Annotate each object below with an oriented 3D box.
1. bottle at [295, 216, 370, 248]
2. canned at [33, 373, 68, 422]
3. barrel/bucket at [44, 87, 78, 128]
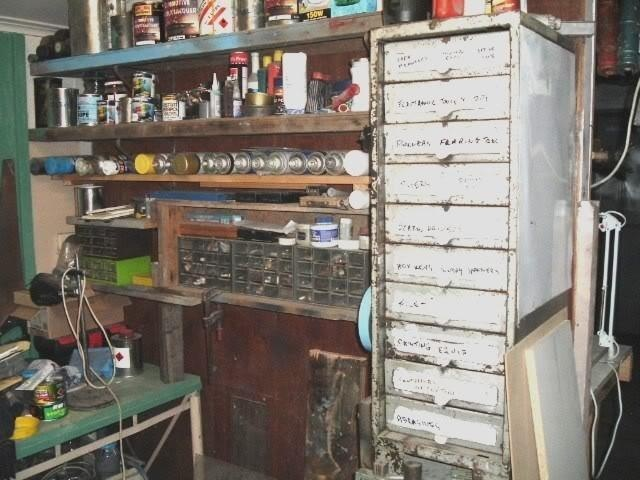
[{"bbox_3d":[0.050,-0.054,2.749,0.261,0.112,0.159,2,5,18],"label":"bottle"},{"bbox_3d":[-1.280,0.743,2.876,0.174,0.192,0.174,1,1,21],"label":"canned"},{"bbox_3d":[-1.457,-0.743,3.446,0.216,0.238,0.217,1,-1,0],"label":"barrel/bucket"}]
